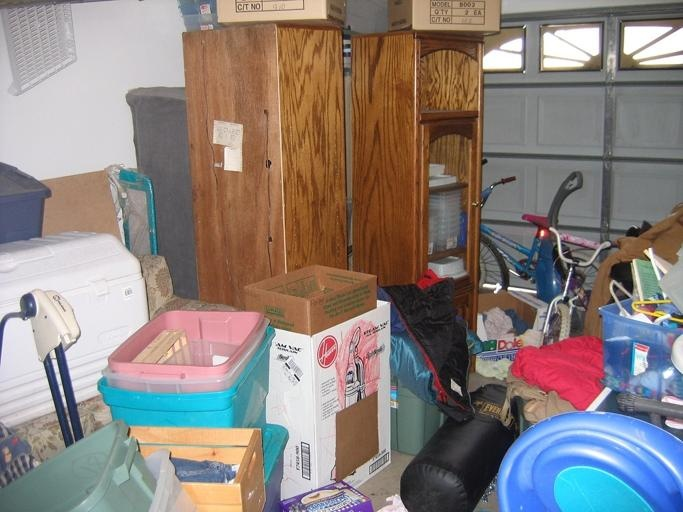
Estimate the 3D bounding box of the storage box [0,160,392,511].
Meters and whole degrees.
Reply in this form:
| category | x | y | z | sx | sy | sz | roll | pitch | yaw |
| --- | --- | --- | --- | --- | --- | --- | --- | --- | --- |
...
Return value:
| category | x | y | z | sx | sy | sz | roll | pitch | yaw |
| --- | --- | --- | --- | --- | --- | --- | --- | --- | --- |
| storage box | -0.623 | 0.107 | 3.644 | 2.082 | 2.285 | 1.267 | 6 | 17 | 19 |

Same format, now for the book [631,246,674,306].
| category | x | y | z | sx | sy | sz | roll | pitch | yaw |
| --- | --- | --- | --- | --- | --- | --- | --- | --- | --- |
| book | 1.256 | 0.083 | 2.342 | 0.197 | 0.218 | 0.068 | 7 | -18 | -36 |

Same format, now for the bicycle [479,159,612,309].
| category | x | y | z | sx | sy | sz | roll | pitch | yaw |
| --- | --- | --- | --- | --- | --- | --- | --- | --- | --- |
| bicycle | 1.641 | -0.158 | 5.002 | 1.019 | 1.335 | 1.267 | -15 | 21 | -37 |
